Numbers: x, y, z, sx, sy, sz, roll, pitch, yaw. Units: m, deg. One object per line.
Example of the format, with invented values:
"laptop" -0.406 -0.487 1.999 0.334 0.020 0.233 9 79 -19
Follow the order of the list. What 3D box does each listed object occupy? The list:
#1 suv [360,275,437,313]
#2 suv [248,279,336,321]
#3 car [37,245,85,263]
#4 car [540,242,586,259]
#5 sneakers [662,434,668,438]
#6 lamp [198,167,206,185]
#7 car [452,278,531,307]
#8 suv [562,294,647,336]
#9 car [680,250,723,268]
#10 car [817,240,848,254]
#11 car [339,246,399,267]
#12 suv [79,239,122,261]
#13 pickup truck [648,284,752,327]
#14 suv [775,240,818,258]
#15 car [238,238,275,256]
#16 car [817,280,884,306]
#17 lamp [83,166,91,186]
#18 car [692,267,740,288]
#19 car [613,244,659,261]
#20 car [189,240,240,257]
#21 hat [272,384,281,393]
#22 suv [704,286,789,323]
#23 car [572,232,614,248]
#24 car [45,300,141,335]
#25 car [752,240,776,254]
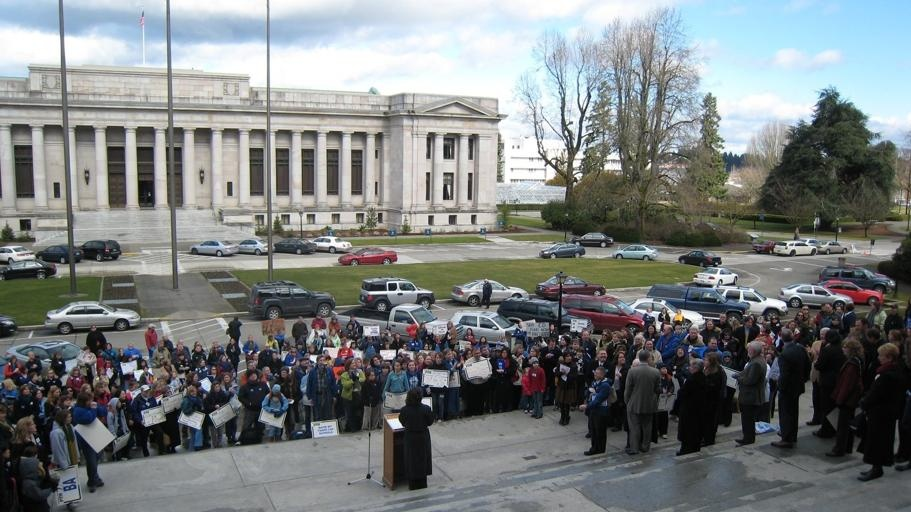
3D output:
"suv" -3.999 2.452 50.564 4.579 1.987 2.089 -4 9 -19
"suv" -10.594 2.856 49.222 5.167 2.084 2.359 -3 8 -17
"car" -33.646 -0.182 64.781 3.606 1.488 4.484 -5 6 -38
"car" 10.613 -0.575 73.823 4.149 1.179 1.681 0 4 -16
"sneakers" 8.744 7.486 31.498 0.127 0.100 0.250 1 9 -11
"lamp" -30.321 -9.692 90.846 0.351 1.807 0.698 4 7 43
"car" 2.363 2.535 52.374 4.913 1.477 2.067 -3 9 -14
"suv" 8.828 3.495 44.722 4.565 1.756 1.985 0 10 9
"car" 22.800 0.286 70.451 1.639 1.129 3.489 -5 11 -40
"car" 39.766 -0.936 79.558 3.752 1.112 1.534 -5 9 -18
"car" -7.760 0.075 67.788 4.630 1.368 1.966 2 1 -12
"suv" -31.045 -0.514 66.503 2.919 1.696 1.354 -4 6 -27
"pickup truck" 15.621 3.128 48.189 6.333 2.224 2.642 6 6 23
"suv" 35.460 -0.854 78.461 3.809 1.170 1.718 -5 9 -15
"car" -19.254 -0.902 72.834 3.521 1.054 1.524 4 4 11
"car" 27.396 2.565 52.447 3.962 1.203 1.731 0 9 11
"lamp" -42.031 -9.170 86.478 0.670 1.812 0.525 -5 7 -35
"car" 20.894 1.594 59.716 3.735 1.074 1.628 -6 9 -33
"car" 17.659 -0.340 73.850 3.751 1.205 1.727 3 3 12
"car" -22.947 -0.705 71.698 4.160 1.238 1.727 4 4 6
"hat" -7.594 5.624 32.174 0.299 0.334 0.385 10 0 -16
"suv" 19.383 2.944 48.987 4.828 1.829 2.084 -1 9 2
"car" 15.529 -1.791 85.076 4.466 1.333 1.888 3 5 5
"car" -21.586 3.814 45.248 5.791 1.981 2.780 0 0 -21
"car" 33.366 -0.979 80.187 2.775 0.736 1.275 -11 13 -36
